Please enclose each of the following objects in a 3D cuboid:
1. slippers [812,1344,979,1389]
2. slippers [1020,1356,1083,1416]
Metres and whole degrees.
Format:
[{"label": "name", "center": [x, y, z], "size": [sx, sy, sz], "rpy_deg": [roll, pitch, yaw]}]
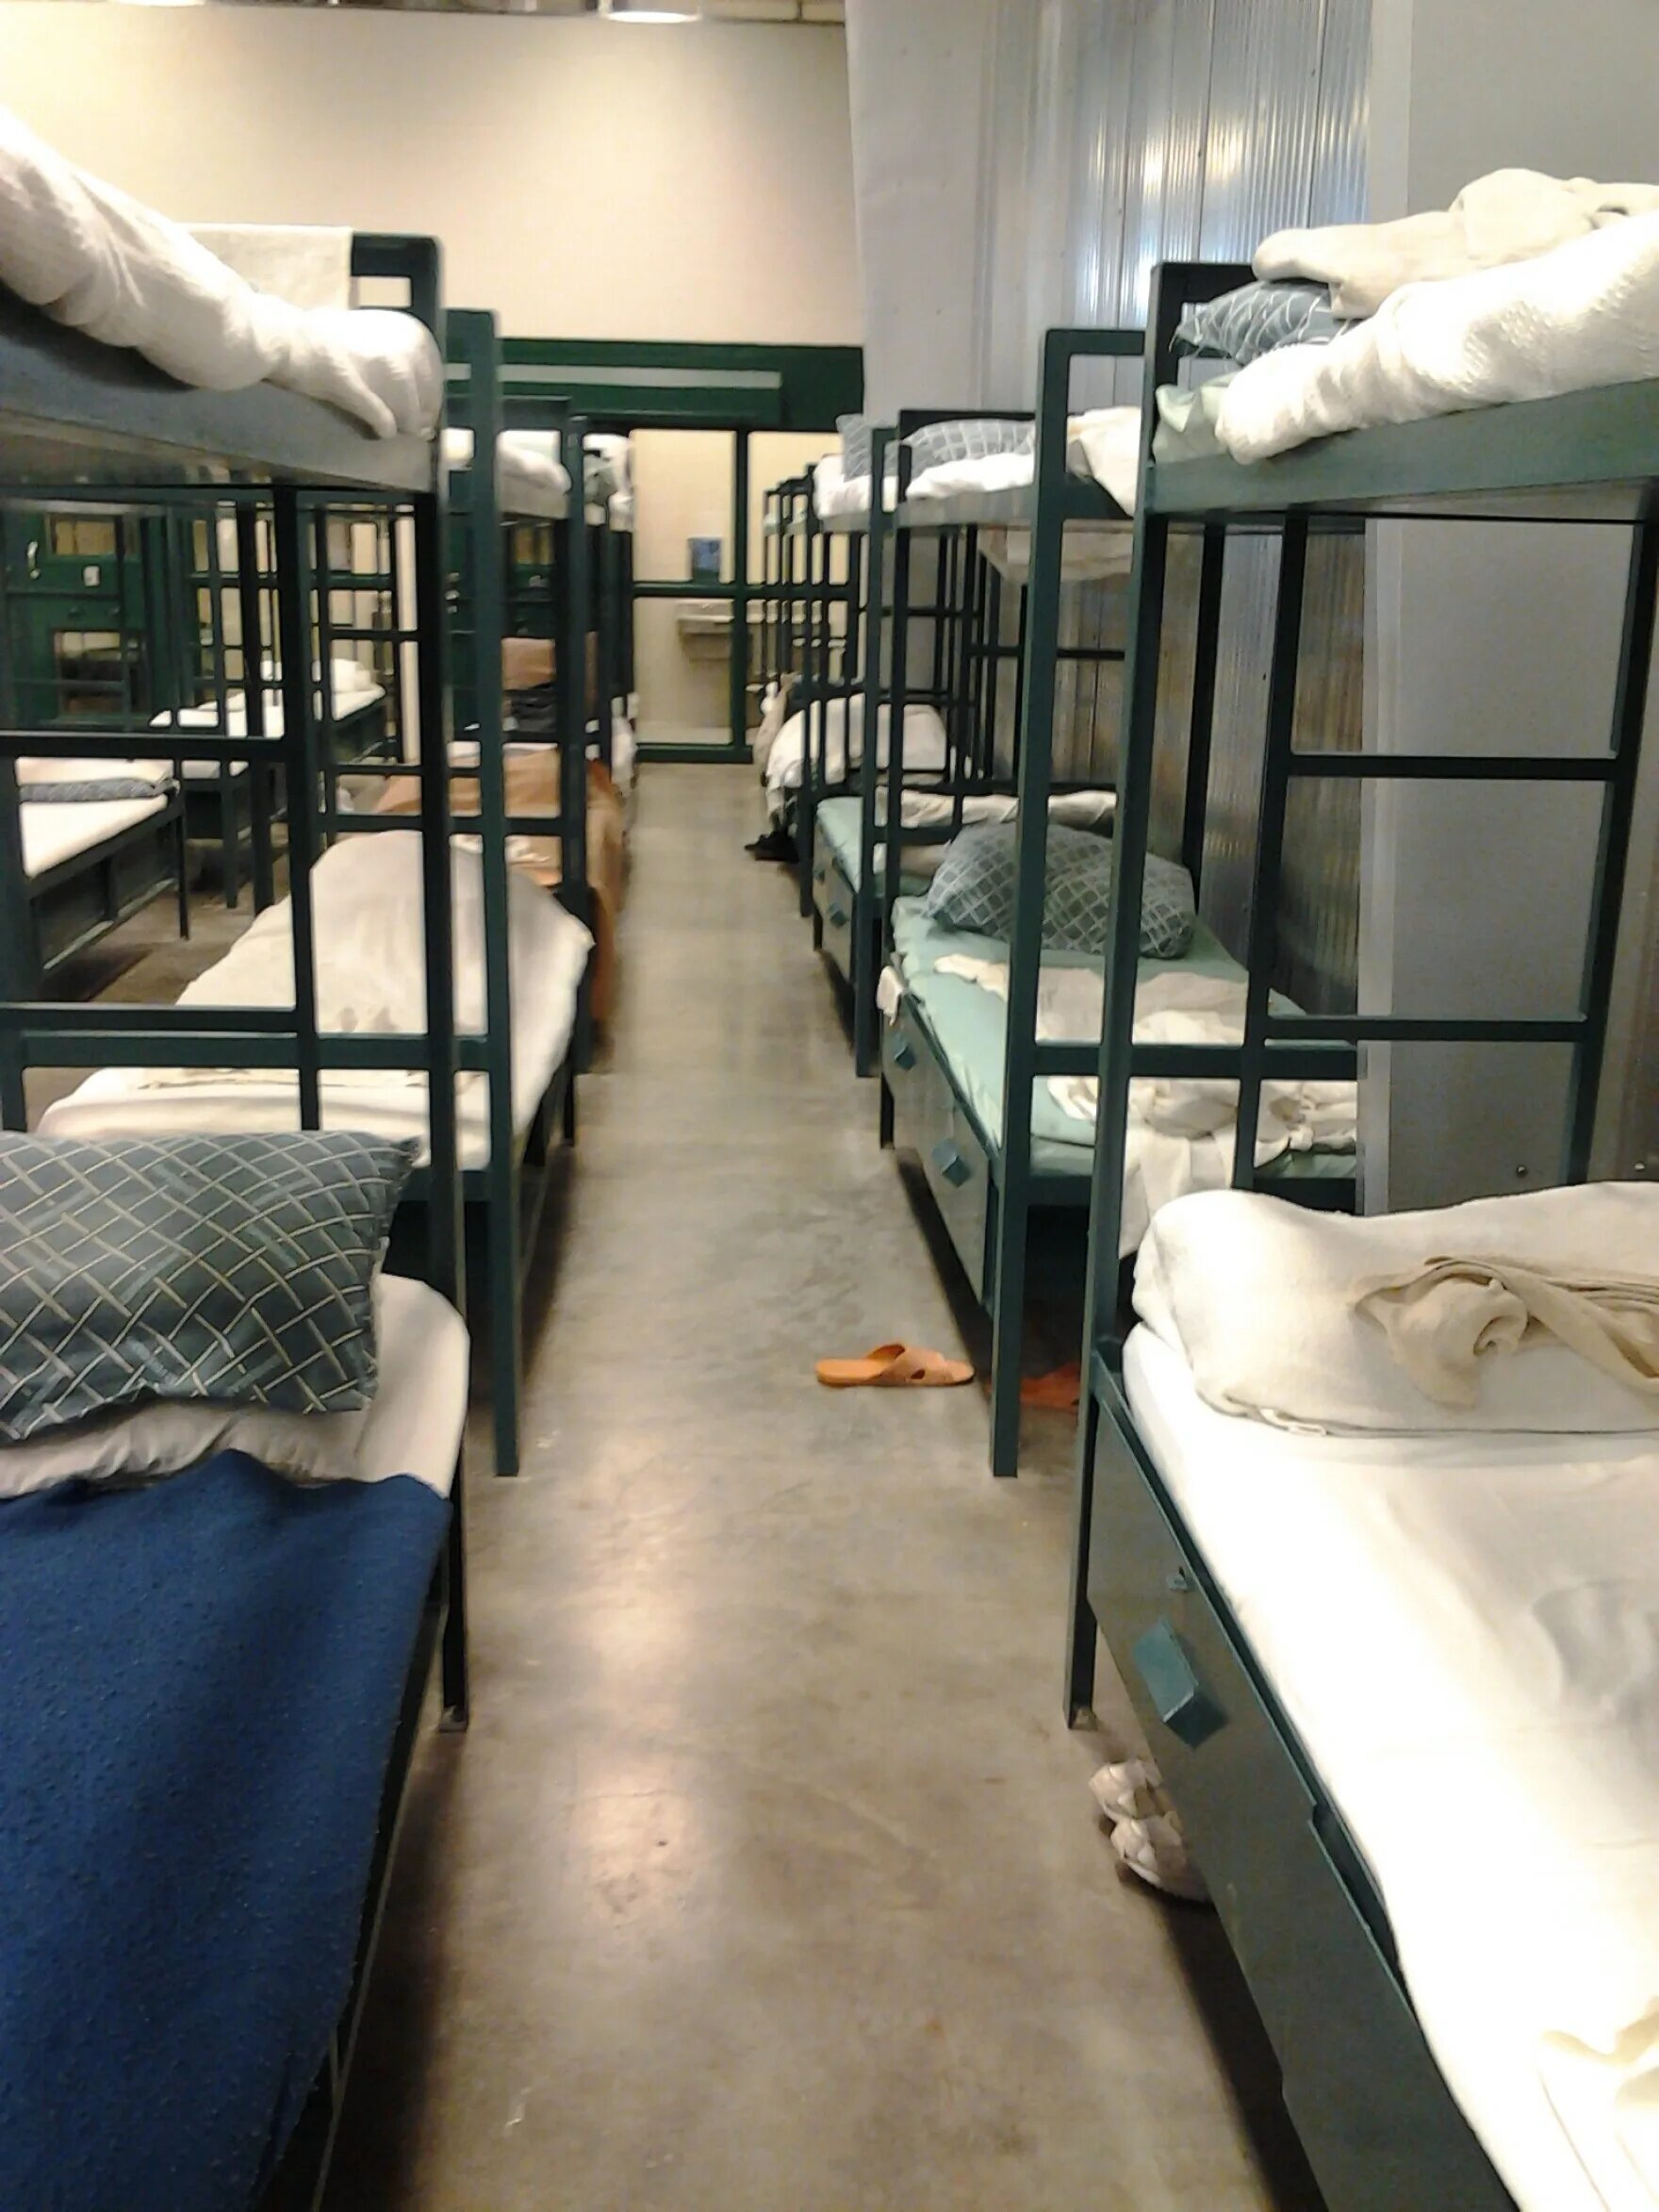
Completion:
[{"label": "slippers", "center": [0.114, 0.489, 3.149], "size": [0.226, 0.067, 0.115], "rpy_deg": [-3, 13, -4]}, {"label": "slippers", "center": [0.400, 0.515, 3.056], "size": [0.095, 0.043, 0.099], "rpy_deg": [13, 24, 33]}]
